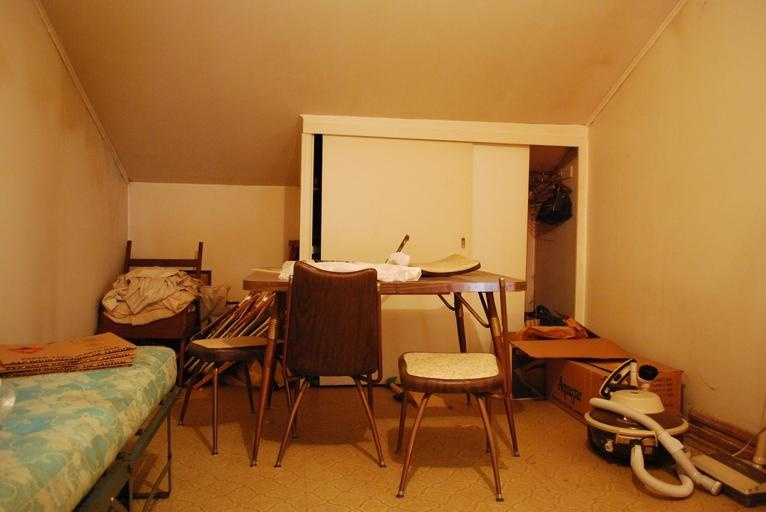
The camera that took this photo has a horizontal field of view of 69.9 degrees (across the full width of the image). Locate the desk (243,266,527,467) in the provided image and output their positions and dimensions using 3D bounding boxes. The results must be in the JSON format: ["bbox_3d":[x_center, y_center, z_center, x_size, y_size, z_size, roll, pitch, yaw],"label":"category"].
[{"bbox_3d":[-0.004,0.633,3.938,1.752,1.062,1.101,0,10,-10],"label":"desk"}]

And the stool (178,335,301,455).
[{"bbox_3d":[-1.099,0.895,4.154,0.851,0.737,0.879,2,4,-25],"label":"stool"}]

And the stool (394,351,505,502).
[{"bbox_3d":[0.430,1.005,3.508,0.682,0.751,0.710,1,13,1],"label":"stool"}]

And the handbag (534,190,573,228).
[{"bbox_3d":[1.612,-0.450,5.177,0.359,0.264,0.500,-4,0,3],"label":"handbag"}]

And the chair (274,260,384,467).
[{"bbox_3d":[-0.333,0.684,3.509,0.725,1.324,0.342,1,14,0],"label":"chair"}]
